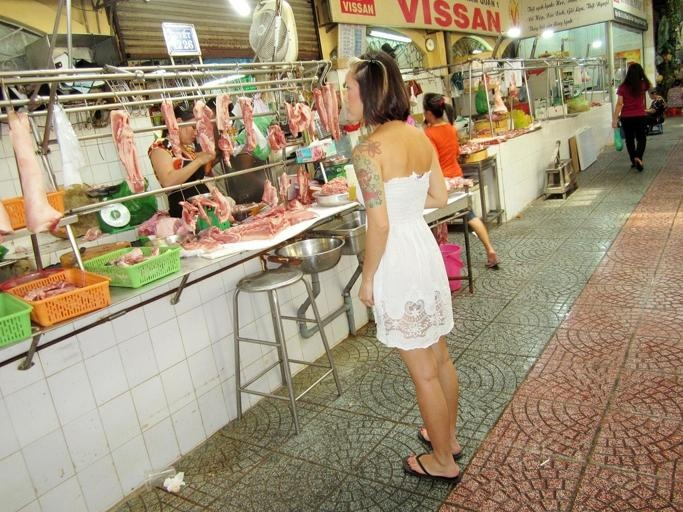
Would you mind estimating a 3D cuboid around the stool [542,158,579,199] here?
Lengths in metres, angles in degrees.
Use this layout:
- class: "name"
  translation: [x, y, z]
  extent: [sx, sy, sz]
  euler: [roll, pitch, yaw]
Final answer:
- class: "stool"
  translation: [4.128, -1.433, 8.668]
  extent: [0.323, 0.448, 0.836]
  euler: [-3, 26, 37]

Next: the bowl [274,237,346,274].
- class: "bowl"
  translation: [-0.230, 0.011, 3.732]
  extent: [0.561, 0.211, 0.569]
  euler: [-9, 14, 2]

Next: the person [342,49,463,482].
- class: "person"
  translation: [0.377, 0.114, 2.631]
  extent: [0.574, 2.432, 0.664]
  euler: [-2, 19, 11]

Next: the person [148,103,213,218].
- class: "person"
  translation: [-1.382, -0.808, 3.954]
  extent: [0.537, 0.503, 1.376]
  euler: [1, -12, -8]

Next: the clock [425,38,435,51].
- class: "clock"
  translation: [1.820, -4.335, 9.406]
  extent: [0.234, 0.232, 0.054]
  euler: [-1, 8, -41]

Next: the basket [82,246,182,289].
- class: "basket"
  translation: [-1.265, 0.052, 2.948]
  extent: [0.372, 0.113, 0.376]
  euler: [7, 14, 29]

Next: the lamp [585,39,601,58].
- class: "lamp"
  translation: [8.534, -7.003, 15.375]
  extent: [0.201, 0.530, 1.266]
  euler: [-1, 20, 14]

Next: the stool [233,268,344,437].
- class: "stool"
  translation: [-0.454, 0.665, 3.576]
  extent: [0.902, 1.120, 0.833]
  euler: [-21, 24, -38]

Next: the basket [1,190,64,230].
- class: "basket"
  translation: [-1.698, -0.252, 2.531]
  extent: [0.274, 0.161, 0.278]
  euler: [-15, 21, -24]

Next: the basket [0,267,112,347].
- class: "basket"
  translation: [-1.692, 0.247, 2.577]
  extent: [0.529, 0.189, 0.578]
  euler: [11, 25, 39]

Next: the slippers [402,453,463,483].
- class: "slippers"
  translation: [0.538, 1.305, 2.753]
  extent: [0.307, 0.073, 0.143]
  euler: [12, 22, 38]

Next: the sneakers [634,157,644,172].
- class: "sneakers"
  translation: [6.247, -1.897, 9.557]
  extent: [0.170, 0.400, 0.154]
  euler: [-4, 11, -1]

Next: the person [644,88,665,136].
- class: "person"
  translation: [10.039, -4.625, 14.682]
  extent: [0.749, 1.357, 0.739]
  euler: [-6, 11, 20]

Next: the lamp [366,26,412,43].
- class: "lamp"
  translation: [0.872, -4.081, 8.480]
  extent: [0.388, 0.170, 1.550]
  euler: [6, 22, 31]
